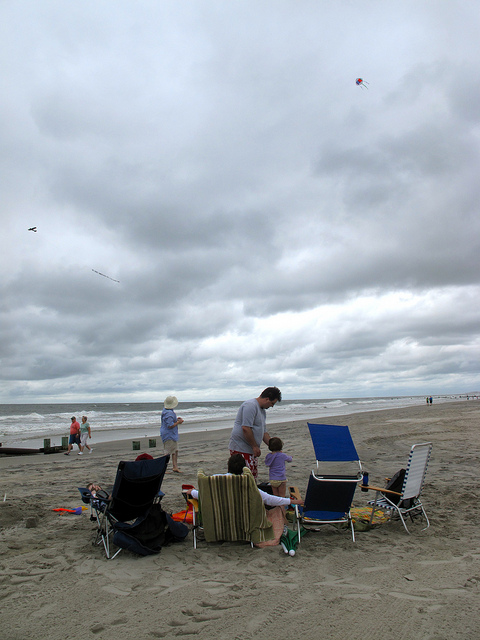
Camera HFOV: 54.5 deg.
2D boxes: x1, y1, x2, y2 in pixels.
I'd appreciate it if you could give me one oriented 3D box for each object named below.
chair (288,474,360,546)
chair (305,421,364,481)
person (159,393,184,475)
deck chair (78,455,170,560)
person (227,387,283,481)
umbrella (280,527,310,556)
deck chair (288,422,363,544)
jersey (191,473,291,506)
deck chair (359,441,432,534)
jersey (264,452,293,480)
[{"bbox_3d":[0.889,1.950,4.964,0.704,0.721,0.727,-4,-6,5],"label":"chair"},{"bbox_3d":[1.587,1.904,7.488,0.755,0.948,1.118,-1,-14,34],"label":"chair"},{"bbox_3d":[-1.280,2.172,8.746,0.389,1.515,1.935,-2,-6,-10],"label":"person"},{"bbox_3d":[-1.167,1.899,4.902,0.767,0.961,0.899,9,-14,-36],"label":"deck chair"},{"bbox_3d":[0.146,1.422,5.248,0.538,1.311,0.483,9,-5,-38],"label":"person"},{"bbox_3d":[0.484,2.186,4.584,0.143,0.064,0.190,11,14,20],"label":"umbrella"},{"bbox_3d":[0.919,1.790,5.217,0.747,1.223,1.115,7,-16,-6],"label":"deck chair"},{"bbox_3d":[0.008,1.701,4.659,0.553,0.236,0.879,3,-25,33],"label":"jersey"},{"bbox_3d":[1.787,1.941,5.478,0.758,0.993,0.748,0,-6,14],"label":"deck chair"},{"bbox_3d":[0.431,1.682,5.317,0.329,0.390,0.290,0,8,15],"label":"jersey"}]
